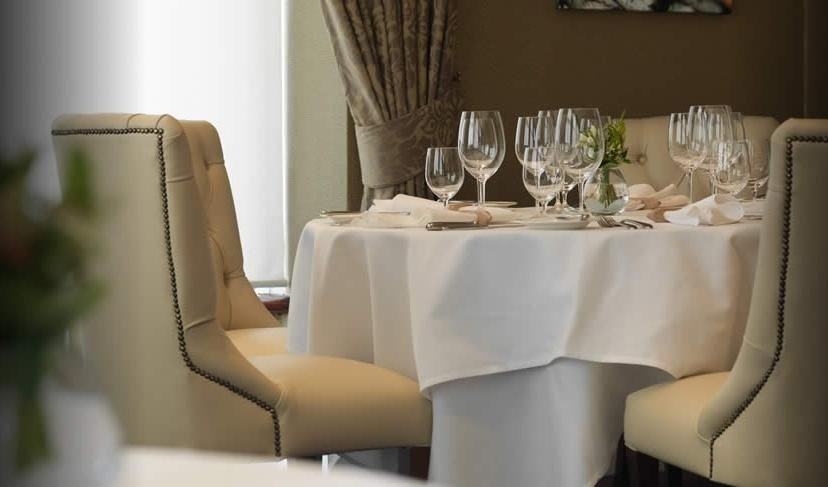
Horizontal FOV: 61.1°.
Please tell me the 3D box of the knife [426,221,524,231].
[{"bbox_3d":[0.134,-0.039,1.580,0.176,0.019,0.028,1,-7,-12],"label":"knife"}]
